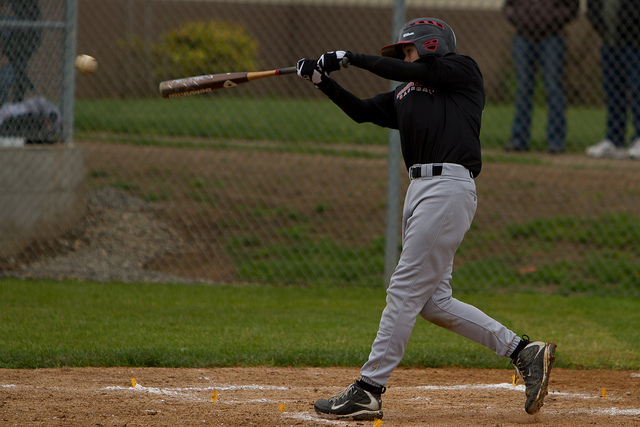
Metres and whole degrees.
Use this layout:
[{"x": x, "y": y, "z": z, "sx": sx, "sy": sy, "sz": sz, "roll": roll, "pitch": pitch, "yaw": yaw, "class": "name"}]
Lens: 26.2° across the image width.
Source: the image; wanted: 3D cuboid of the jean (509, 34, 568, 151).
[{"x": 2.106, "y": -1.129, "z": 13.430, "sx": 0.476, "sy": 0.343, "sz": 1.648, "roll": 0, "pitch": 48, "yaw": 7, "class": "jean"}]

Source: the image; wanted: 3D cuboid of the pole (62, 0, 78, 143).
[{"x": -2.255, "y": -1.271, "z": 12.409, "sx": 0.106, "sy": 1.280, "sz": 0.112, "roll": 2, "pitch": 5, "yaw": -10, "class": "pole"}]

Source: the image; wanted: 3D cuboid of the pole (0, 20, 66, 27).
[{"x": -2.569, "y": -1.693, "z": 12.344, "sx": 0.576, "sy": 0.077, "sz": 0.058, "roll": 3, "pitch": 5, "yaw": -9, "class": "pole"}]

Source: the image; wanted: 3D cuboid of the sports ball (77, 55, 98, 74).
[{"x": -2.005, "y": -1.278, "z": 11.909, "sx": 0.130, "sy": 0.129, "sz": 0.137, "roll": 4, "pitch": 3, "yaw": 0, "class": "sports ball"}]

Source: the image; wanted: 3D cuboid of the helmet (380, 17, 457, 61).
[{"x": 0.781, "y": -1.377, "z": 11.109, "sx": 0.606, "sy": 0.384, "sz": 0.422, "roll": -4, "pitch": -8, "yaw": 2, "class": "helmet"}]

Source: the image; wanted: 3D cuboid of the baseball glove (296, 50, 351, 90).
[{"x": 0.051, "y": -1.182, "z": 11.078, "sx": 0.324, "sy": 0.137, "sz": 0.328, "roll": -25, "pitch": -9, "yaw": 36, "class": "baseball glove"}]

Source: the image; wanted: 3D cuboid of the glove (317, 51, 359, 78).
[{"x": 0.130, "y": -1.253, "z": 11.537, "sx": 0.350, "sy": 0.233, "sz": 0.483, "roll": -3, "pitch": 9, "yaw": -2, "class": "glove"}]
